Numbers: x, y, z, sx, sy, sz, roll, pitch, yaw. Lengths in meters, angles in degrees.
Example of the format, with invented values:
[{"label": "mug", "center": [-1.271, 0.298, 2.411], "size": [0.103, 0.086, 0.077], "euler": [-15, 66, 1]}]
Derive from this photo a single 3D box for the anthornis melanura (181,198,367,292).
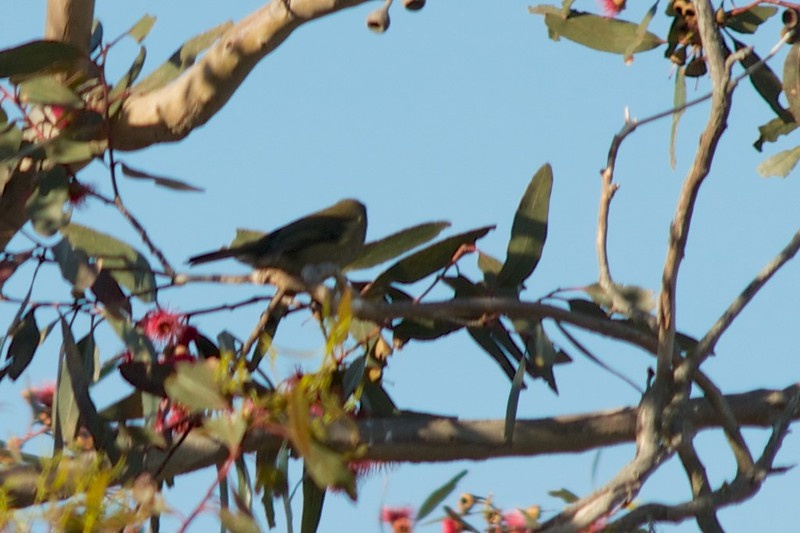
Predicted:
[{"label": "anthornis melanura", "center": [-0.214, -0.051, 3.860], "size": [0.337, 0.216, 0.138], "euler": [4, -28, -15]}]
